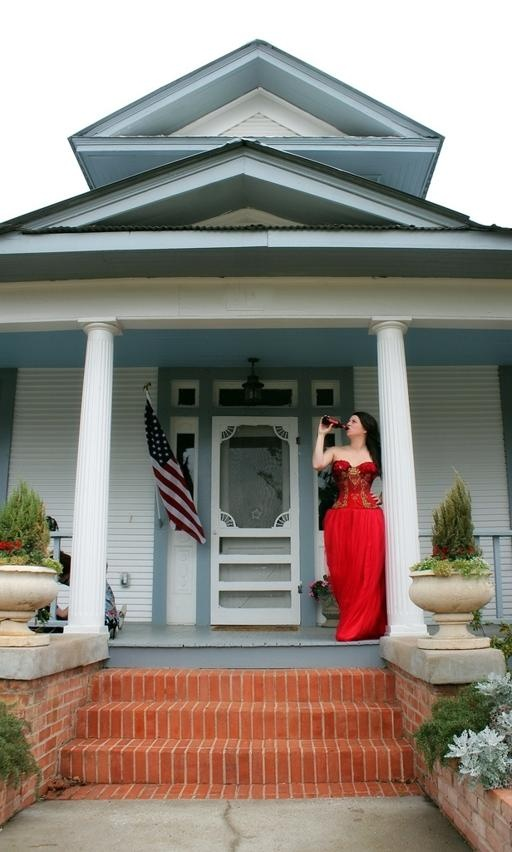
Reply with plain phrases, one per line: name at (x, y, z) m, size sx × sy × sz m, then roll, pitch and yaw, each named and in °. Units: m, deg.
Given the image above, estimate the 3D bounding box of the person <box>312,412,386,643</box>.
person at (0.809, 0.772, 5.268) m, size 0.558 × 1.938 × 0.764 m, roll -3°, pitch -13°, yaw 12°

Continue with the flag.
flag at (-0.946, 0.491, 6.701) m, size 0.442 × 1.467 × 0.930 m, roll -7°, pitch -15°, yaw 24°

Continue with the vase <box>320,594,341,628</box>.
vase at (0.762, 1.926, 6.517) m, size 0.251 × 0.307 × 0.250 m, roll -14°, pitch -23°, yaw 36°

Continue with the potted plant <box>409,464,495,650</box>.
potted plant at (1.061, 0.763, 3.438) m, size 0.444 × 0.917 × 0.394 m, roll -6°, pitch -14°, yaw 21°

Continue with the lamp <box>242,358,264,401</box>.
lamp at (-0.033, -0.509, 7.167) m, size 0.200 × 0.515 × 0.470 m, roll -1°, pitch -14°, yaw 1°
